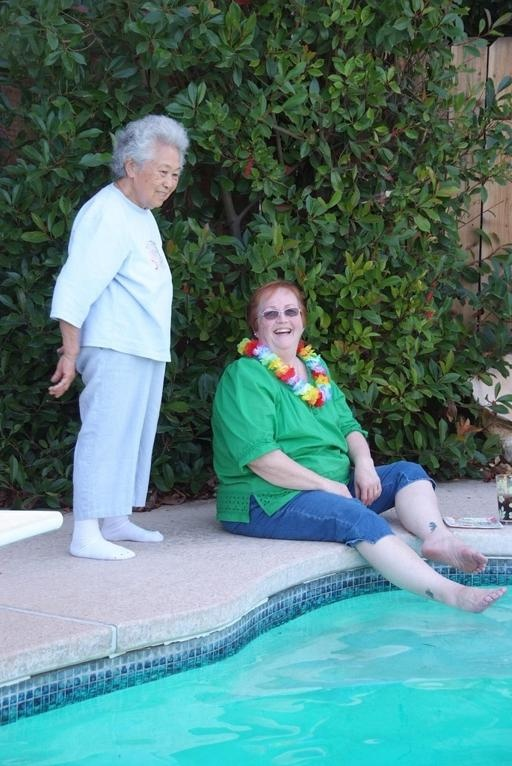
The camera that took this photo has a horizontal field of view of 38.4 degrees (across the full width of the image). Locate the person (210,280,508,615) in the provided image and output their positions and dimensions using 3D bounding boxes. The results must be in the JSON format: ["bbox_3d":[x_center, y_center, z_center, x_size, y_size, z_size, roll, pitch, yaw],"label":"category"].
[{"bbox_3d":[0.370,0.152,2.983,1.015,1.159,0.652,0,-2,35],"label":"person"}]

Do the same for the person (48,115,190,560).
[{"bbox_3d":[-0.505,-0.173,2.736,0.443,1.617,0.545,2,-2,-6],"label":"person"}]
